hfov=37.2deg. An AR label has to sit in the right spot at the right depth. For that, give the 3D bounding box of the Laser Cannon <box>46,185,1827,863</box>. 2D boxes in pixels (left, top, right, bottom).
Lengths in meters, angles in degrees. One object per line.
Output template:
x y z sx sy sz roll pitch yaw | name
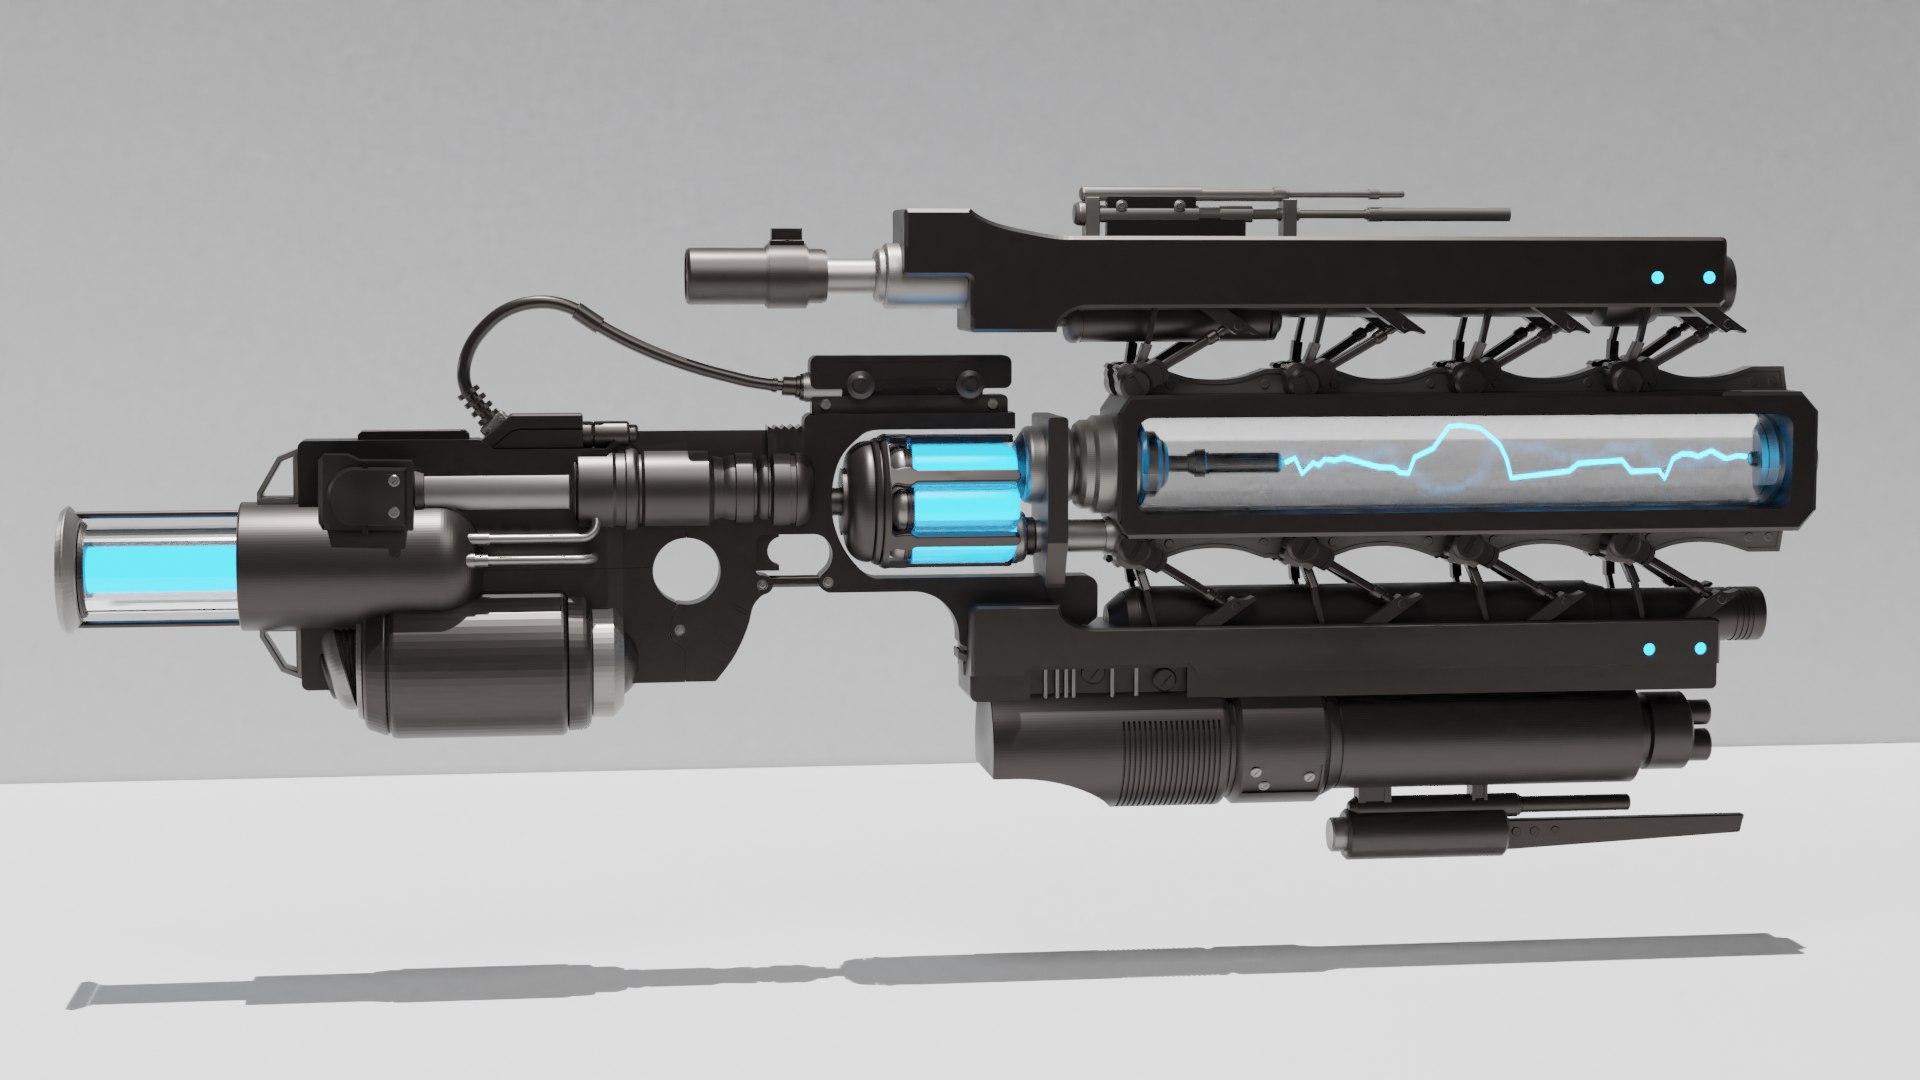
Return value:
-0.021 -0.032 10.642 7.226 1.011 2.527 -1 -87 -24 | Laser Cannon
